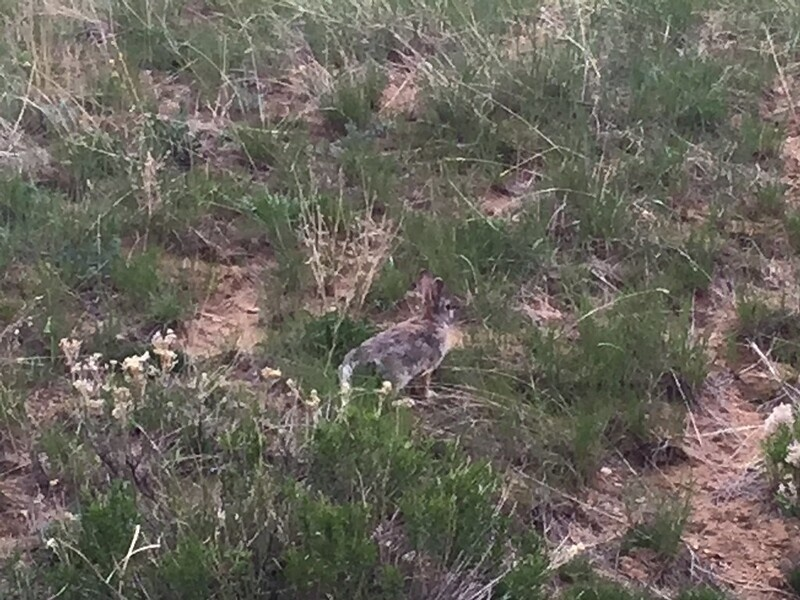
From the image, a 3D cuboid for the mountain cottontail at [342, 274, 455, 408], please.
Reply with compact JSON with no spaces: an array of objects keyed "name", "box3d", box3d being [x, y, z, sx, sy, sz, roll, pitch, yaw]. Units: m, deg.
[{"name":"mountain cottontail","box3d":[0.061,0.279,6.477,0.524,0.228,0.912,35,49,25]}]
